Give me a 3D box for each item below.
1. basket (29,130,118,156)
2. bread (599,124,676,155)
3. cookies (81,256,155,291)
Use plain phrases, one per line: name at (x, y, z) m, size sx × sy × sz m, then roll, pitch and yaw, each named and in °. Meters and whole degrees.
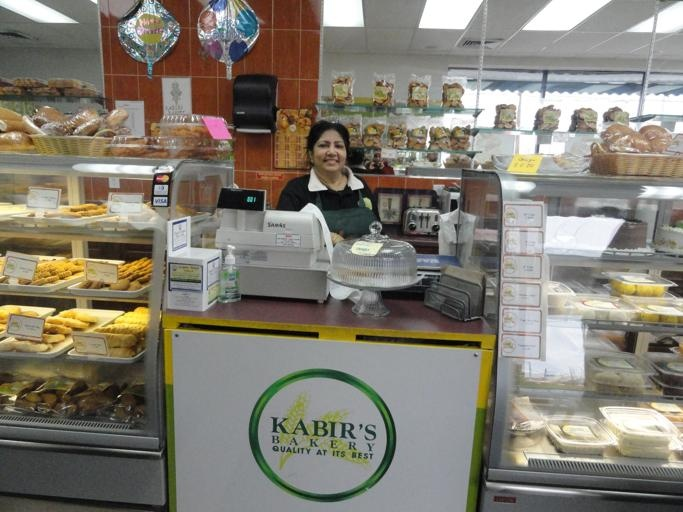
basket at (-1.436, -0.579, 2.805) m, size 0.424 × 0.106 × 0.148 m, roll 3°, pitch 13°, yaw 10°
bread at (1.484, -0.577, 2.754) m, size 0.427 × 0.169 × 0.281 m, roll -1°, pitch 11°, yaw 5°
cookies at (-1.075, 0.065, 2.837) m, size 0.426 × 0.163 × 0.387 m, roll 2°, pitch 7°, yaw -4°
